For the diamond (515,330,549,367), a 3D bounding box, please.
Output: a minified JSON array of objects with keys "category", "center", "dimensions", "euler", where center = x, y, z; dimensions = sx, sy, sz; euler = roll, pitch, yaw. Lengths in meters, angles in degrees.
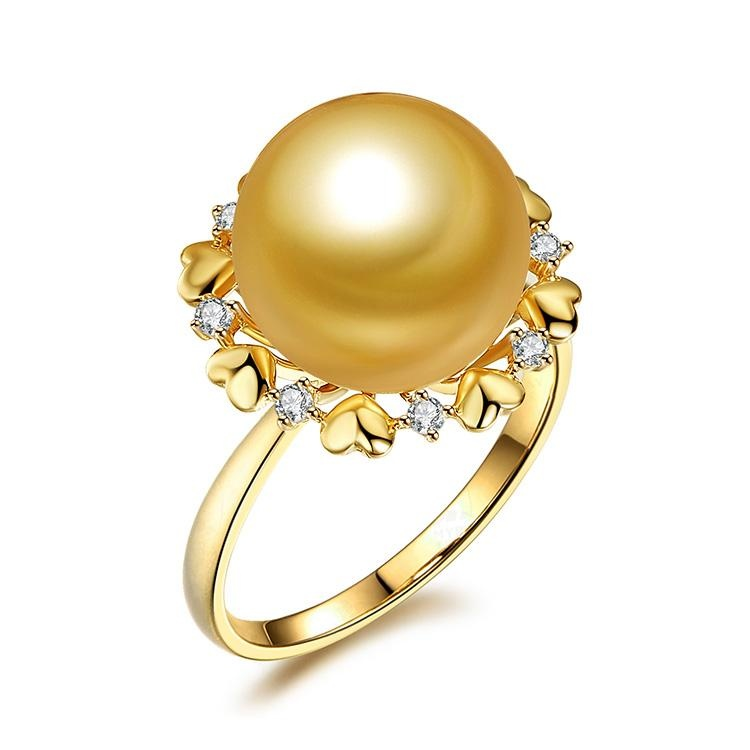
[{"category":"diamond","center":[0.376,-0.060,2.173],"dimensions":[0.082,0.036,0.087],"euler":[-3,67,0]}]
